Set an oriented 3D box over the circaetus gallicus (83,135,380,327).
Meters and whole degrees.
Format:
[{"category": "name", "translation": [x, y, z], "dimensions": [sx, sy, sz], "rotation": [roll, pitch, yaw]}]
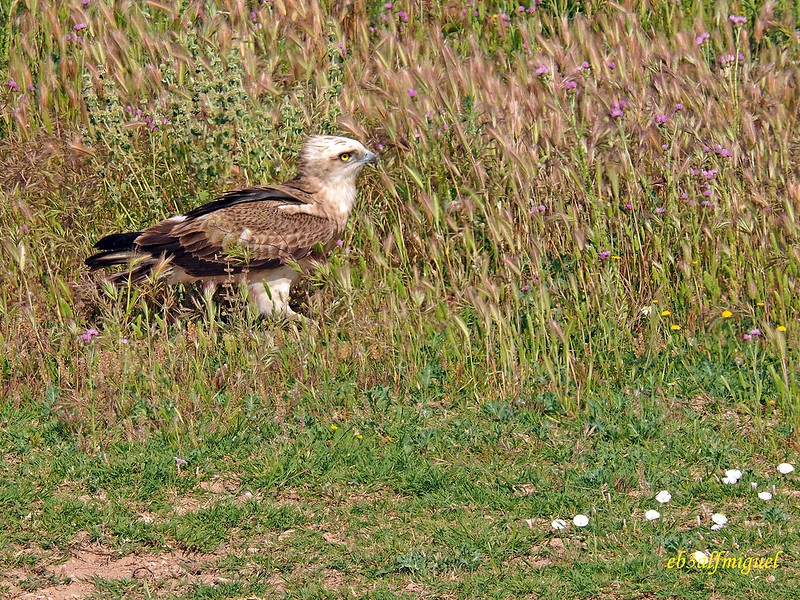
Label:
[{"category": "circaetus gallicus", "translation": [-1.038, -0.465, 7.890], "dimensions": [1.398, 1.478, 1.924], "rotation": [-16, 25, -41]}]
